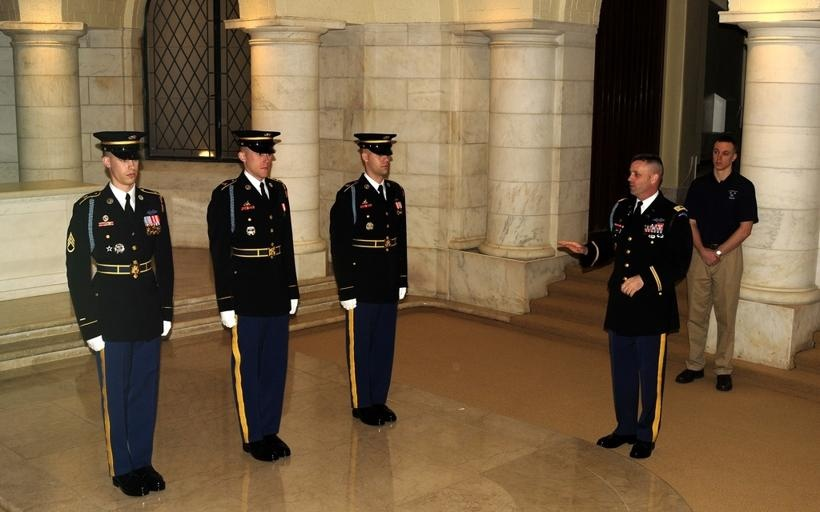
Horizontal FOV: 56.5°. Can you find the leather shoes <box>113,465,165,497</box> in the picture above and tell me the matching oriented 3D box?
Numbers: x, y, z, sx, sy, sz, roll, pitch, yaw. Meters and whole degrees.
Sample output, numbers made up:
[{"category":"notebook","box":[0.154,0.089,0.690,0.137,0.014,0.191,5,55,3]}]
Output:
[{"category":"leather shoes","box":[-2.225,1.850,6.258,0.328,0.123,0.213,3,8,34]}]

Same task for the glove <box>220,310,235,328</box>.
[{"category":"glove","box":[-1.573,0.532,6.579,0.154,0.141,0.054,-1,12,-10]}]

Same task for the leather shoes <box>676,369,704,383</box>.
[{"category":"leather shoes","box":[3.100,1.326,8.447,0.366,0.133,0.128,-5,21,-23]}]

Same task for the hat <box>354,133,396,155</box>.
[{"category":"hat","box":[-0.331,-1.050,7.141,0.313,0.188,0.240,-2,16,-5]}]

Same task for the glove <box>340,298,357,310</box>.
[{"category":"glove","box":[-0.576,0.451,7.122,0.099,0.076,0.122,1,1,27]}]

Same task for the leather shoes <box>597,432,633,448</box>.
[{"category":"leather shoes","box":[1.897,1.706,7.051,0.352,0.132,0.137,2,4,-8]}]

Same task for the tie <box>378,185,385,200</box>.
[{"category":"tie","box":[-0.279,-0.611,7.203,0.064,0.114,0.032,-4,-7,-21]}]

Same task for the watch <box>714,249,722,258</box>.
[{"category":"watch","box":[3.296,-0.030,8.142,0.067,0.070,0.026,2,17,8]}]

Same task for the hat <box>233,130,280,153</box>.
[{"category":"hat","box":[-1.375,-1.026,6.804,0.327,0.235,0.555,-3,15,-8]}]

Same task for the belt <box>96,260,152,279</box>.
[{"category":"belt","box":[-2.336,0.093,6.182,0.440,0.146,0.202,-6,17,-20]}]

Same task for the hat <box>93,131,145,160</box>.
[{"category":"hat","box":[-2.395,-0.933,6.174,0.407,0.196,0.380,21,21,38]}]

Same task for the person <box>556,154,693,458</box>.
[{"category":"person","box":[2.032,0.464,6.906,0.819,2.723,0.703,7,18,25]}]

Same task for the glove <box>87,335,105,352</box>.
[{"category":"glove","box":[-2.509,0.690,6.033,0.124,0.138,0.105,2,16,8]}]

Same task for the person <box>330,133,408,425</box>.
[{"category":"person","box":[-0.391,0.216,7.275,0.668,2.703,0.769,6,18,23]}]
